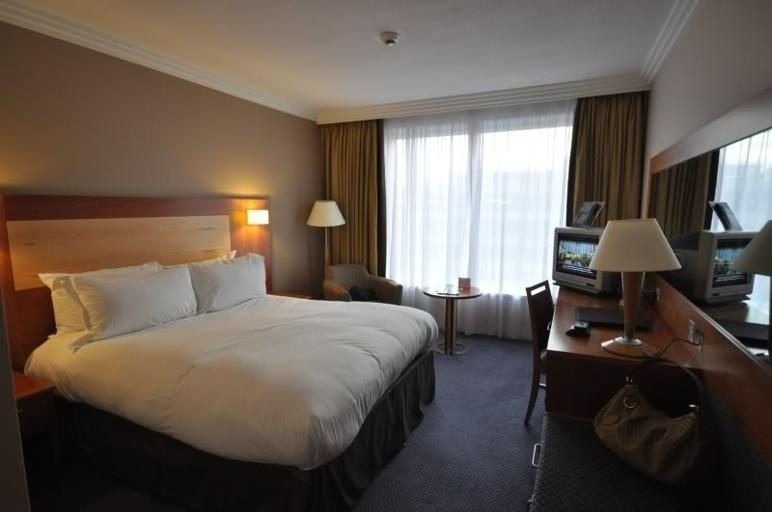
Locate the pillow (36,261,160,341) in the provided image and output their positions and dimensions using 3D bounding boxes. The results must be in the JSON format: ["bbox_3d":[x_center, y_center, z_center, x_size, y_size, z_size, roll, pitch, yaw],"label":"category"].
[{"bbox_3d":[-2.415,0.392,4.147,0.187,0.367,0.586,-42,-17,35],"label":"pillow"}]

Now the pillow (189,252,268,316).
[{"bbox_3d":[-1.539,0.242,5.028,0.236,0.474,0.745,-4,6,40],"label":"pillow"}]

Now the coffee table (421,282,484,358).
[{"bbox_3d":[0.742,0.709,5.714,0.710,0.803,0.736,0,1,-13],"label":"coffee table"}]

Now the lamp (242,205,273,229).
[{"bbox_3d":[-1.459,-0.449,5.719,0.179,0.239,0.338,0,3,27],"label":"lamp"}]

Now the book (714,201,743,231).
[{"bbox_3d":[2.046,-0.241,2.988,0.191,0.261,0.020,7,-35,-36],"label":"book"}]

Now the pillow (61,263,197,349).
[{"bbox_3d":[-2.148,0.363,4.348,1.050,0.601,0.337,-15,8,-39],"label":"pillow"}]

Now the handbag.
[{"bbox_3d":[1.636,1.084,3.141,0.312,0.553,0.563,9,12,-33],"label":"handbag"}]

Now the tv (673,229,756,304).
[{"bbox_3d":[2.143,0.015,3.409,0.378,0.476,0.541,-5,16,-4],"label":"tv"}]
